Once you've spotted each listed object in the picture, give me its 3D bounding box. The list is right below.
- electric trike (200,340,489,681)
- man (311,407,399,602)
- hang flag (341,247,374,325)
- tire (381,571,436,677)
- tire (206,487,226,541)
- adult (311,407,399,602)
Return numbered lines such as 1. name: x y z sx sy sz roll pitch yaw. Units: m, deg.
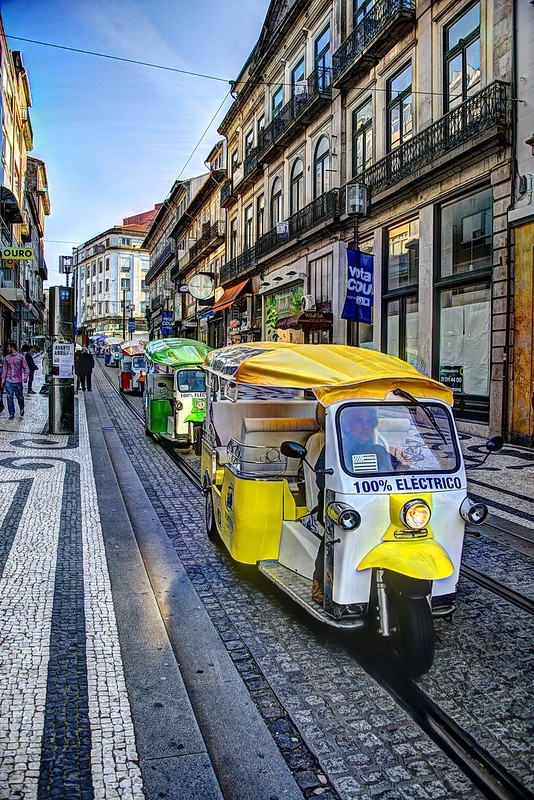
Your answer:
1. electric trike: 0.500 0.574 4.882 1.302 2.135 3.028 -2 7 -15
2. man: 0.466 0.666 4.124 0.440 1.256 0.776 0 2 -25
3. hang flag: 2.309 -2.906 15.603 0.706 1.728 1.637 1 2 8
4. tire: 0.801 1.274 3.498 0.173 0.651 0.464 -2 8 -8
5. tire: -0.501 1.140 6.084 0.160 0.627 0.512 -1 6 -6
6. adult: 0.467 0.666 4.115 0.438 1.256 0.764 0 2 -26
